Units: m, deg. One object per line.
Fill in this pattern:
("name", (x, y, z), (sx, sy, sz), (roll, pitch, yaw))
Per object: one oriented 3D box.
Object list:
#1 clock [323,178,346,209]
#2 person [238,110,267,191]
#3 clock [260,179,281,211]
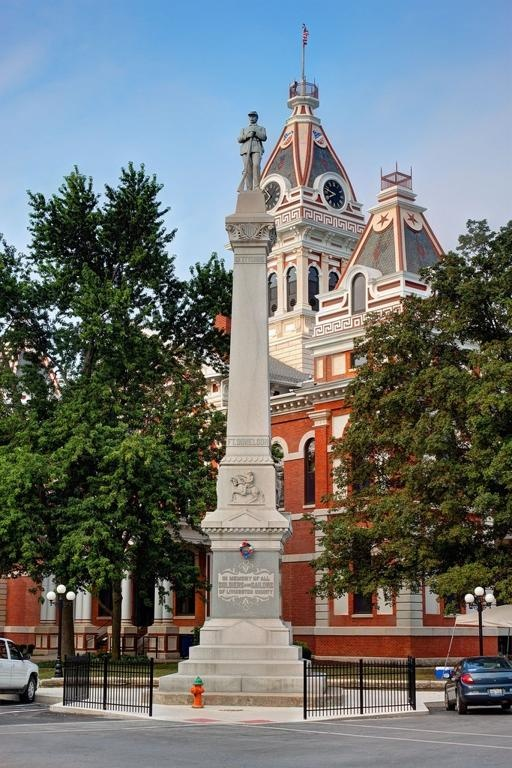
("clock", (5.203, -12.536, 77.560), (0.468, 2.218, 2.129), (-9, -14, 36))
("person", (-0.120, -5.665, 28.808), (0.636, 2.360, 1.263), (-1, -11, 1))
("clock", (1.029, -12.256, 77.066), (0.888, 2.331, 2.213), (1, -11, -7))
